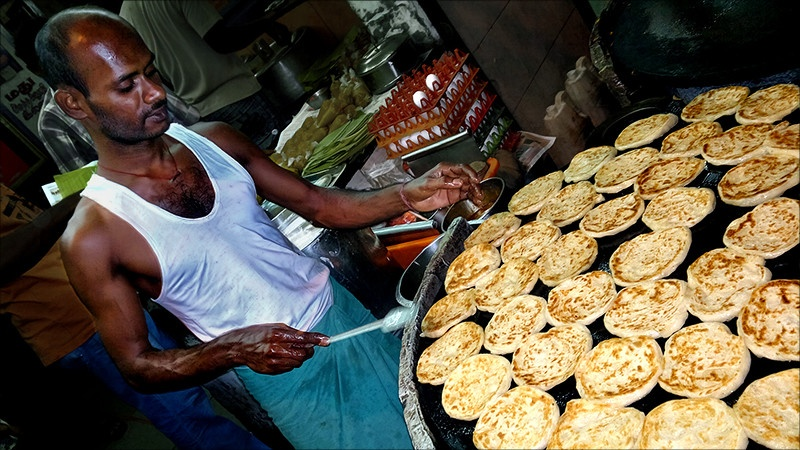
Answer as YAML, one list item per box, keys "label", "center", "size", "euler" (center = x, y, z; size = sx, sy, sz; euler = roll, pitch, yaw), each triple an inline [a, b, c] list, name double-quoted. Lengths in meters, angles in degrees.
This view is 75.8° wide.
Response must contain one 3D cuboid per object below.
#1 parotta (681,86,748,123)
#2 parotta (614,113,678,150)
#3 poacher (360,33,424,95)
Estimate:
- label: "parotta"
  center: [2.716, -1.046, 4.456]
  size: [0.445, 0.048, 0.346]
  euler: [-31, 33, -9]
- label: "parotta"
  center: [2.152, -0.814, 4.623]
  size: [0.529, 0.343, 0.456]
  euler: [1, -2, 13]
- label: "poacher"
  center: [-0.149, -2.257, 7.281]
  size: [0.887, 0.546, 0.847]
  euler: [-38, 25, 1]
